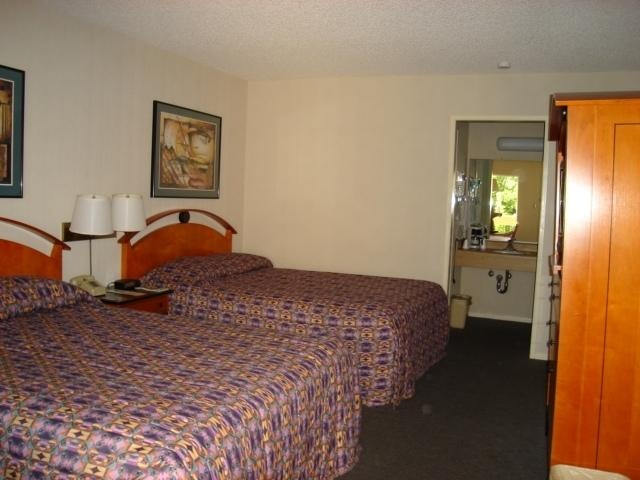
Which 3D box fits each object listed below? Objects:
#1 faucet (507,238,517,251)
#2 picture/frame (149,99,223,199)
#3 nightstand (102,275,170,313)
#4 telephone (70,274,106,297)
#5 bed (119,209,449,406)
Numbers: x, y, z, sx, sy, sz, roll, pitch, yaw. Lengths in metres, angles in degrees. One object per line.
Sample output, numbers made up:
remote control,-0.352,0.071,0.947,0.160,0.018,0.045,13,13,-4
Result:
faucet,2.827,0.068,6.983,0.143,0.185,0.147,3,4,41
picture/frame,-1.524,-1.037,5.298,0.043,1.000,1.222,6,8,26
nightstand,-1.732,0.487,4.327,0.378,0.230,0.388,5,9,27
telephone,-2.021,0.384,4.142,0.213,0.099,0.230,24,16,3
bed,-0.323,0.491,4.897,2.780,1.434,1.841,4,12,23
